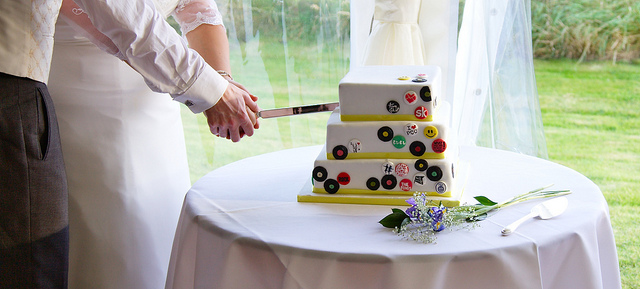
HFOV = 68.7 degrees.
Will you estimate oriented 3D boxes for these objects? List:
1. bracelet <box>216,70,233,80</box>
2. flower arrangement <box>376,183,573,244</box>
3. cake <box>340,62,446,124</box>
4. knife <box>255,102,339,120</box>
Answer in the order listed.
[{"bbox_3d":[-0.637,-0.455,3.128,0.091,0.058,0.125,-3,20,-12],"label":"bracelet"},{"bbox_3d":[0.847,0.396,2.760,0.756,0.179,0.313,-10,5,-13],"label":"flower arrangement"},{"bbox_3d":[0.449,-0.329,2.945,0.518,0.190,0.478,2,20,7],"label":"cake"},{"bbox_3d":[-0.149,-0.234,3.130,0.547,0.124,0.181,2,20,1],"label":"knife"}]
